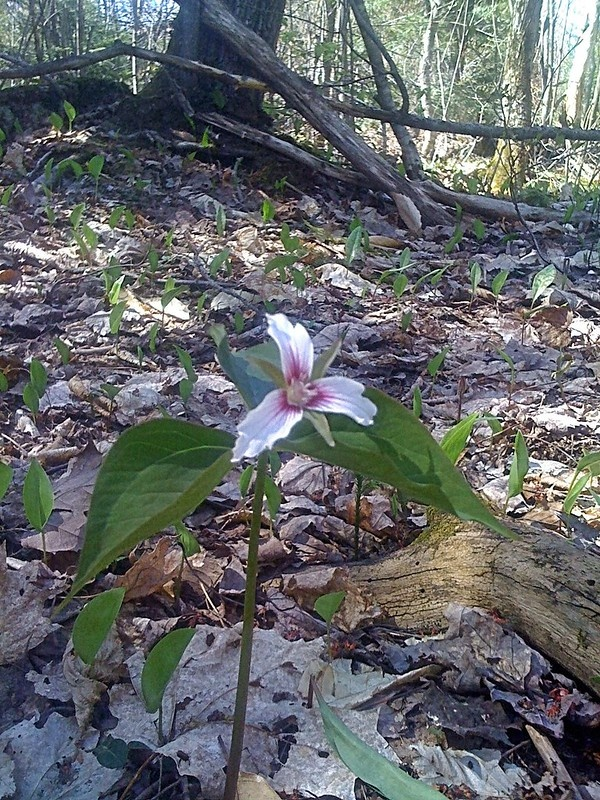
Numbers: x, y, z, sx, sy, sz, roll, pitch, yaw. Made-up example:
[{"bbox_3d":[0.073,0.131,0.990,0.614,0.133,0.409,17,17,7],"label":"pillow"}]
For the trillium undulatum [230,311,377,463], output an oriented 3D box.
[{"bbox_3d":[-0.024,-0.025,1.071,0.256,0.187,0.189,-8,22,-38],"label":"trillium undulatum"}]
